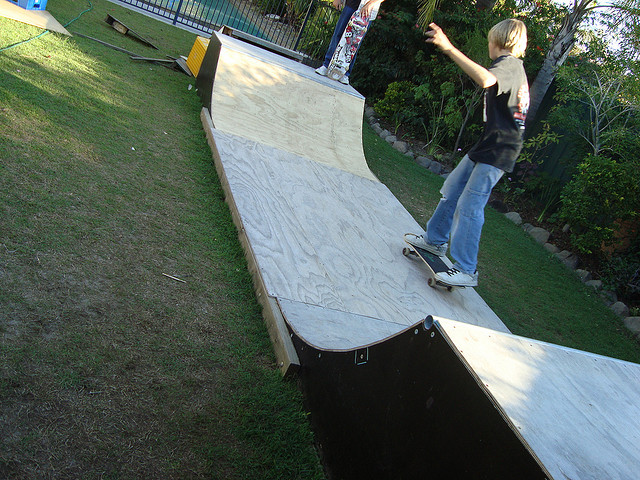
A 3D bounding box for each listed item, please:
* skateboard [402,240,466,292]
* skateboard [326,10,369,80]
[{"bbox_3d":[0.965,0.165,4.018,0.238,0.156,0.954,2,29,-28],"label":"skateboard"},{"bbox_3d":[0.364,-2.774,6.489,0.320,1.344,0.238,19,46,-9],"label":"skateboard"}]
